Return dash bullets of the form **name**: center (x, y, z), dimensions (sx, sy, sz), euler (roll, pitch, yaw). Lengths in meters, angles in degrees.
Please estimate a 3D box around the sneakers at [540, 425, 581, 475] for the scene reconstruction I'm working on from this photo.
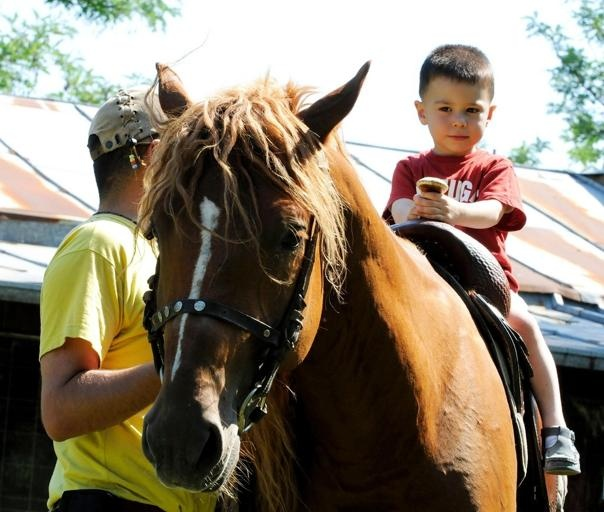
- **sneakers**: center (1.307, 0.944, 4.700), dimensions (0.109, 0.198, 0.304), euler (-2, -6, -30)

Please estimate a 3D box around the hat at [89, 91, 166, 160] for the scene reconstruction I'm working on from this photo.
- **hat**: center (-0.810, -0.632, 4.618), dimensions (0.407, 0.344, 0.296), euler (-6, 3, -12)
